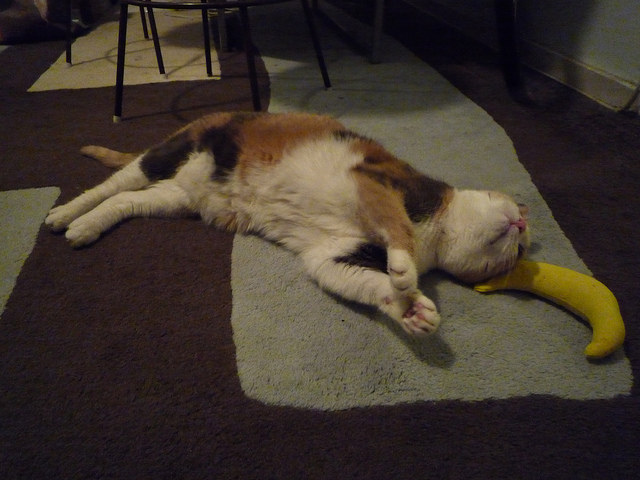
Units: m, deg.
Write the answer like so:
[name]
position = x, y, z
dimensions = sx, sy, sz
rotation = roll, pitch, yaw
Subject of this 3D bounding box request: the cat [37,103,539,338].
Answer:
[cat]
position = -0.173, -0.193, 2.719
dimensions = 2.118, 0.572, 1.243
rotation = 19, 39, 17
